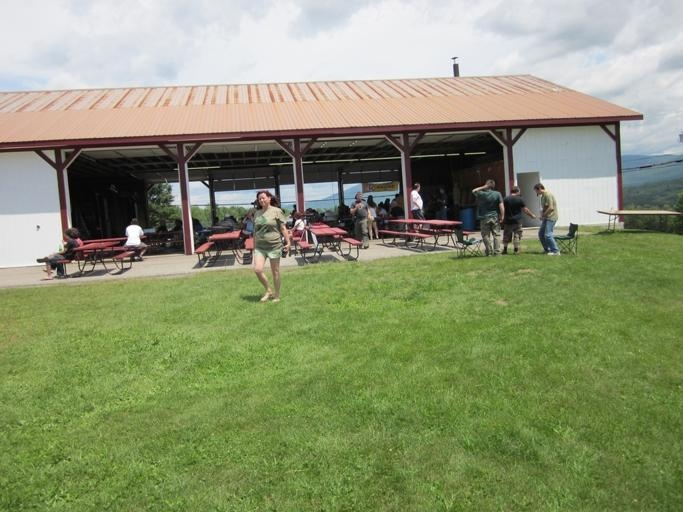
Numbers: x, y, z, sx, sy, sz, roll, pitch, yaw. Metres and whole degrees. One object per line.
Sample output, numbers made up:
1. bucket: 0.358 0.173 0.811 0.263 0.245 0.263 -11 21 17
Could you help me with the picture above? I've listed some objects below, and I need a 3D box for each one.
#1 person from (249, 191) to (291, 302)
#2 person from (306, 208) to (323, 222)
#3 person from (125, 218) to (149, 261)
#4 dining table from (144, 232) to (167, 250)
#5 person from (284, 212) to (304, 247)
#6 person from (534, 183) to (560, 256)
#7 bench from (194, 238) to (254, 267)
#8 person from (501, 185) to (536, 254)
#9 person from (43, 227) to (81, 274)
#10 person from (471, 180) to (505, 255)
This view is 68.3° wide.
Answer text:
1. person: -1.165 -0.201 8.476 0.590 1.809 0.996 -3 7 -8
2. person: -1.003 -1.462 17.825 0.607 0.359 0.796 3 4 20
3. person: -5.571 -0.449 13.646 0.607 1.188 0.661 0 1 24
4. dining table: -6.858 -0.577 18.736 0.607 0.344 0.992 -3 7 -20
5. person: -1.331 -0.925 15.330 0.639 0.845 1.402 0 8 0
6. person: 4.810 -0.905 11.757 0.502 1.590 1.698 0 8 23
7. bench: -3.392 -0.120 14.632 1.327 0.371 1.411 0 9 -2
8. person: 3.992 -0.840 11.580 0.562 1.515 1.116 0 7 20
9. person: -6.877 -0.103 12.341 0.775 1.260 0.524 1 18 -36
10. person: 3.365 -0.897 11.512 0.655 1.685 1.030 -1 7 17
